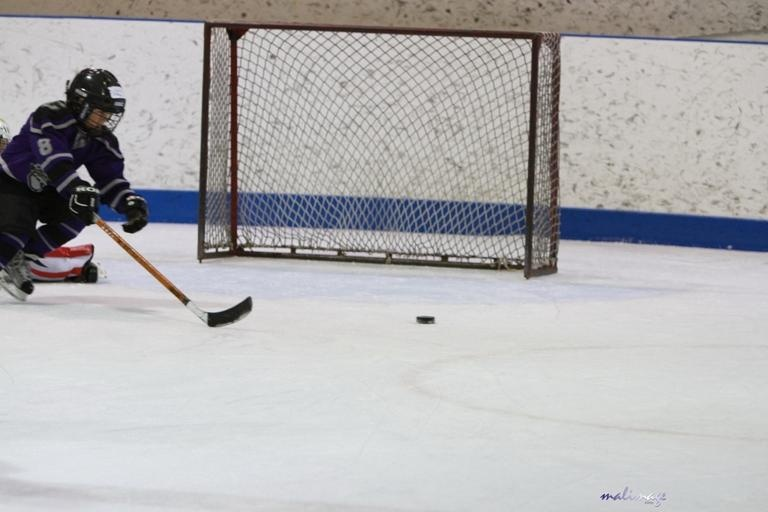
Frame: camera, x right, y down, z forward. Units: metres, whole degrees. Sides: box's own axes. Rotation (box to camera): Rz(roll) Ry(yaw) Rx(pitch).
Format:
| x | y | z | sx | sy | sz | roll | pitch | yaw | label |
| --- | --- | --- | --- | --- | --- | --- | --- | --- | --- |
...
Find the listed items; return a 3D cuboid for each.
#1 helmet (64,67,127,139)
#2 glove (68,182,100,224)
| x | y | z | sx | sy | sz | roll | pitch | yaw | label |
| --- | --- | --- | --- | --- | --- | --- | --- | --- | --- |
| -1.235 | -0.674 | 3.575 | 0.268 | 0.241 | 0.225 | 28 | 14 | 14 | helmet |
| -1.277 | -0.219 | 3.460 | 0.154 | 0.134 | 0.109 | 4 | 2 | 3 | glove |
